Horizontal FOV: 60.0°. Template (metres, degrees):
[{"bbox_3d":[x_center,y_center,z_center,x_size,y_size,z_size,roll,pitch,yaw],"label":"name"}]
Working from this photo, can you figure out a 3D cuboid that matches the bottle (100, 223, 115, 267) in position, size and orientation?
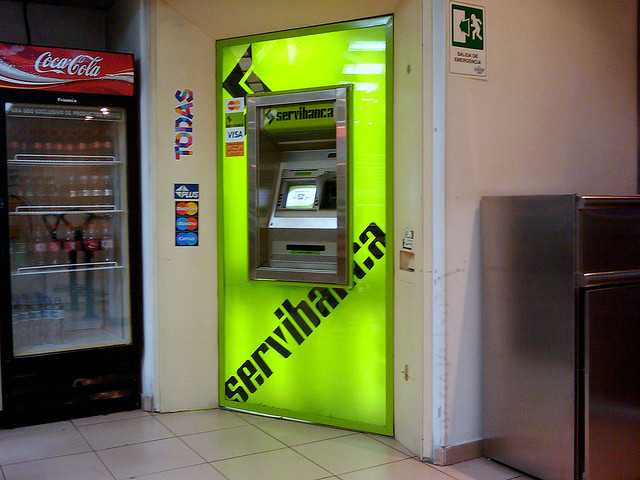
[{"bbox_3d":[-1.776,0.072,4.594,0.124,0.409,0.124,-2,-3,0],"label":"bottle"}]

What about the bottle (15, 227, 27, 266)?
[{"bbox_3d":[-2.355,0.063,4.344,0.098,0.311,0.074,-7,12,-32],"label":"bottle"}]

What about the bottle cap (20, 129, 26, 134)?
[{"bbox_3d":[-2.314,-0.845,4.301,0.037,0.035,0.020,-2,11,-28],"label":"bottle cap"}]

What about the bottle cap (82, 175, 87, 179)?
[{"bbox_3d":[-1.921,-0.514,4.510,0.039,0.037,0.021,2,3,8],"label":"bottle cap"}]

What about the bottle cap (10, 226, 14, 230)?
[{"bbox_3d":[-2.401,-0.093,4.306,0.019,0.024,0.040,5,12,29],"label":"bottle cap"}]

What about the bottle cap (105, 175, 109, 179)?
[{"bbox_3d":[-1.746,-0.510,4.541,0.037,0.035,0.020,0,-3,7],"label":"bottle cap"}]

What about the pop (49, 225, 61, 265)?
[{"bbox_3d":[-2.161,0.066,4.490,0.080,0.308,0.082,6,16,-3],"label":"pop"}]

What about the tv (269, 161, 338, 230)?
[{"bbox_3d":[-0.003,-0.287,4.269,0.630,0.575,0.351,-1,-20,13],"label":"tv"}]

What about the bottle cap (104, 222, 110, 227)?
[{"bbox_3d":[-1.764,-0.125,4.572,0.033,0.032,0.034,3,1,9],"label":"bottle cap"}]

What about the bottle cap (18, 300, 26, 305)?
[{"bbox_3d":[-2.364,0.496,4.378,0.057,0.038,0.029,2,2,-10],"label":"bottle cap"}]

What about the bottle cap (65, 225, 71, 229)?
[{"bbox_3d":[-2.045,-0.104,4.493,0.031,0.029,0.022,-1,-9,7],"label":"bottle cap"}]

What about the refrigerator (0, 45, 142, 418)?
[{"bbox_3d":[-1.959,-0.095,4.311,1.124,2.700,0.618,-4,11,-19],"label":"refrigerator"}]

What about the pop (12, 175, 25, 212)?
[{"bbox_3d":[-2.329,-0.356,4.260,0.098,0.259,0.102,-7,12,-33],"label":"pop"}]

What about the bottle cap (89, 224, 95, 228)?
[{"bbox_3d":[-1.878,-0.113,4.550,0.040,0.039,0.021,1,-28,-2],"label":"bottle cap"}]

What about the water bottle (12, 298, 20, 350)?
[{"bbox_3d":[-2.363,0.656,4.292,0.057,0.366,0.234,-6,12,-28],"label":"water bottle"}]

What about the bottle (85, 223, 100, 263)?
[{"bbox_3d":[-1.884,0.083,4.580,0.136,0.487,0.132,8,21,-3],"label":"bottle"}]

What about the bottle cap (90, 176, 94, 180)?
[{"bbox_3d":[-1.866,-0.504,4.518,0.021,0.041,0.022,-4,-9,43],"label":"bottle cap"}]

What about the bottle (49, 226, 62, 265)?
[{"bbox_3d":[-2.160,0.055,4.500,0.106,0.398,0.103,10,37,-8],"label":"bottle"}]
